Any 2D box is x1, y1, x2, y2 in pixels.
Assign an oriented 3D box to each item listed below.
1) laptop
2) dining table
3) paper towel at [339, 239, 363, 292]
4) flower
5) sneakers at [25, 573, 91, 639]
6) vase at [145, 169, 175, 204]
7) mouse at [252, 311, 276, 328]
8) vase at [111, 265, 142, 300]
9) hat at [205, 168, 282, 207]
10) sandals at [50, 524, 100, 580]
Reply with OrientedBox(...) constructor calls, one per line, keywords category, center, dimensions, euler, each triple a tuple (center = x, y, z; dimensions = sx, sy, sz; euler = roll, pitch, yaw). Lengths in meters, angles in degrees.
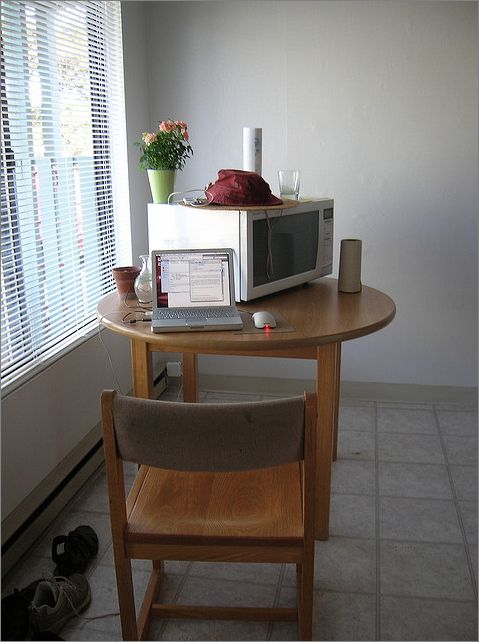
OrientedBox(category="laptop", center=(-0.129, -0.103, 1.501), dimensions=(0.276, 0.197, 0.247), euler=(-4, 13, -17))
OrientedBox(category="dining table", center=(0.027, 0.293, 1.889), dimensions=(0.955, 0.772, 0.953), euler=(6, 15, 25))
OrientedBox(category="paper towel", center=(0.382, -0.196, 1.785), dimensions=(0.084, 0.174, 0.076), euler=(2, 11, 12))
OrientedBox(category="flower", center=(-0.278, -0.662, 1.931), dimensions=(0.177, 0.193, 0.269), euler=(-1, 14, -6))
OrientedBox(category="sneakers", center=(-0.472, 0.737, 1.373), dimensions=(0.072, 0.105, 0.165), euler=(12, 24, 19))
OrientedBox(category="vase", center=(-0.287, -0.492, 1.898), dimensions=(0.114, 0.111, 0.126), euler=(1, 22, -6))
OrientedBox(category="mouse", center=(0.071, -0.004, 1.448), dimensions=(0.060, 0.036, 0.082), euler=(-6, 15, -26))
OrientedBox(category="vase", center=(-0.388, -0.138, 1.822), dimensions=(0.108, 0.124, 0.110), euler=(19, 25, 33))
OrientedBox(category="hat", center=(0.002, -0.418, 1.642), dimensions=(0.164, 0.062, 0.179), euler=(-16, 35, -36))
OrientedBox(category="sandals", center=(-0.526, 0.697, 1.652), dimensions=(0.094, 0.289, 0.112), euler=(-24, 50, -34))
